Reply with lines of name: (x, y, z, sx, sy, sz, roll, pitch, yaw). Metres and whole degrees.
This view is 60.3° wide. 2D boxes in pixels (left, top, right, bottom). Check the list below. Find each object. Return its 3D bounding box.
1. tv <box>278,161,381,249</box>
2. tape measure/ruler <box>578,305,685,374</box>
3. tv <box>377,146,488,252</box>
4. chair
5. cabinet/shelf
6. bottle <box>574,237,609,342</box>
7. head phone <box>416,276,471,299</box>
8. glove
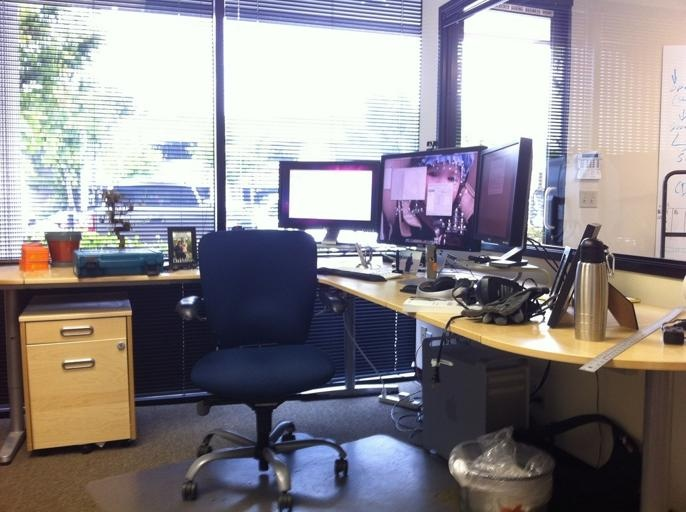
tv: (-0.092, -0.335, 3.610, 0.501, 0.402, 0.138, 2, 9, 8)
tape measure/ruler: (1.147, 0.305, 2.258, 0.804, 0.088, 0.115, -10, 16, -40)
tv: (0.495, -0.311, 3.215, 0.058, 0.435, 0.562, -3, 6, -43)
chair: (-0.428, 0.523, 3.101, 0.765, 1.379, 0.837, -1, 3, -14)
cabinet/shelf: (-1.546, 0.596, 3.393, 0.551, 0.851, 0.538, -1, 8, -35)
bottle: (0.938, 0.139, 2.303, 0.159, 0.352, 0.137, 0, 3, -32)
head phone: (0.480, 0.143, 2.786, 0.167, 0.063, 0.124, -11, 7, -15)
glove: (0.658, 0.189, 2.618, 0.366, 0.141, 0.425, 4, 4, -9)
